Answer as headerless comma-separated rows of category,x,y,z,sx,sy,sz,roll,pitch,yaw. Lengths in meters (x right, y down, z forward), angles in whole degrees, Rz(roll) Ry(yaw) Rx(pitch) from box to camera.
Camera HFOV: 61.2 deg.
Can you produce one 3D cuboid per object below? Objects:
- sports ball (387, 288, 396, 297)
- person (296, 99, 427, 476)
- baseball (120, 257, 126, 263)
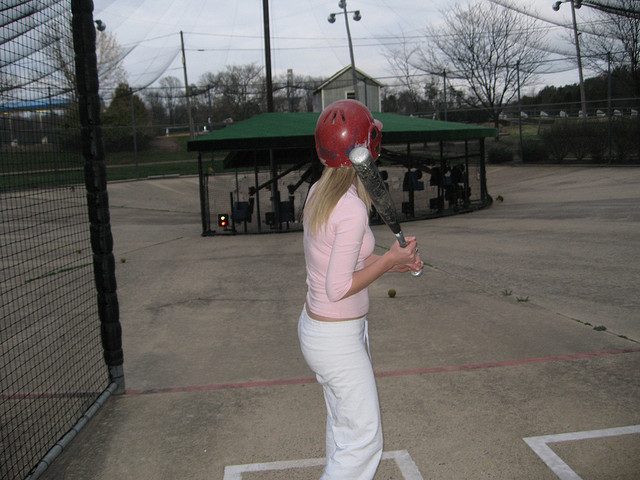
sports ball,1.095,0.818,8.266,0.081,0.093,0.109,1,-16,34
person,0.196,0.300,3.508,0.698,2.405,0.535,-4,9,-5
baseball,-4.202,0.432,11.543,0.116,0.097,0.128,-5,-10,-12
